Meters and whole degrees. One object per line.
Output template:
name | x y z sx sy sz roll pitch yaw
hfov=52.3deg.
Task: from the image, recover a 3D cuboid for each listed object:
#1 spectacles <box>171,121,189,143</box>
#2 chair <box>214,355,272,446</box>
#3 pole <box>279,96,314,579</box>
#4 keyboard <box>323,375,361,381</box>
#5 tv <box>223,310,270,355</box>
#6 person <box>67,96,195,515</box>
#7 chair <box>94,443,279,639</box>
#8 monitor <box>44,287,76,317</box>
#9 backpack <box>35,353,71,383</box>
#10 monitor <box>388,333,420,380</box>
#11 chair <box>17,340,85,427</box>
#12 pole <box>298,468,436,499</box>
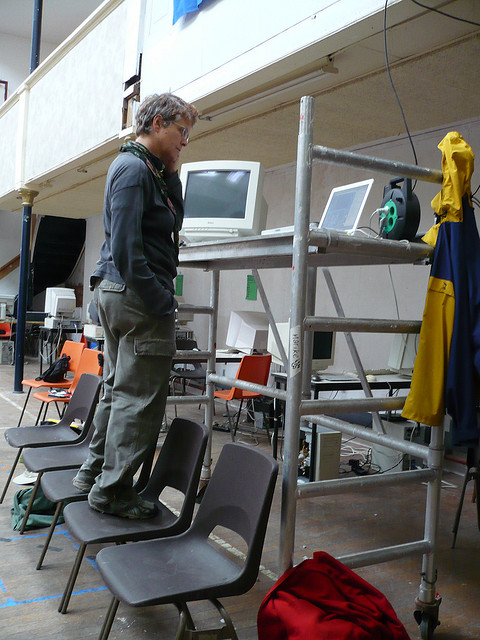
spectacles | -0.207 -0.631 1.640 0.019 0.069 0.064 6 5 2
chair | -0.001 0.769 4.926 0.592 0.858 0.526 7 5 44
pole | 0.122 0.038 1.379 0.102 1.253 0.141 0 5 -11
keyboard | 0.858 0.482 4.126 0.268 0.035 0.446 4 -3 9
tv | 0.096 0.181 5.343 0.450 0.353 0.439 6 21 -31
person | -0.345 -0.054 1.646 0.288 0.944 0.428 4 -3 -18
chair | -0.141 0.477 1.223 0.383 0.240 0.394 6 -3 -27
monitor | -3.237 -0.319 8.671 0.547 0.592 0.534 0 4 -32
backpack | -1.819 0.472 4.826 0.282 0.345 0.245 10 -4 -5
monitor | 1.355 0.302 4.058 0.215 0.366 0.365 3 -3 17
chair | -1.829 0.429 4.855 0.646 1.057 0.647 -1 4 -35
pole | 0.397 0.511 1.553 0.557 0.072 0.094 6 -3 -27
